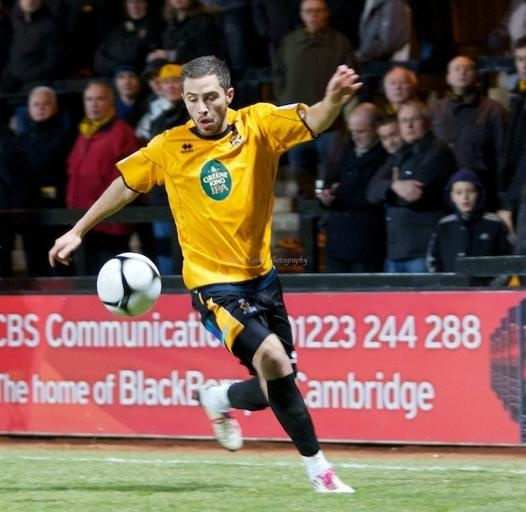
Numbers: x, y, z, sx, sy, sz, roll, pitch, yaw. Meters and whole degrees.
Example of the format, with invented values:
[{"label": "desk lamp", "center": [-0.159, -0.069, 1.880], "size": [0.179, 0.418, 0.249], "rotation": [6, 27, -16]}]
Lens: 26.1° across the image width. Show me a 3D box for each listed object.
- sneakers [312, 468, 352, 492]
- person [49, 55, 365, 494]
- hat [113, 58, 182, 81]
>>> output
[{"label": "sneakers", "center": [0.302, 1.088, 5.521], "size": [0.088, 0.089, 0.233], "rotation": [-8, 0, -44]}, {"label": "person", "center": [-0.123, 0.100, 5.598], "size": [1.282, 2.145, 0.587], "rotation": [2, 16, 39]}, {"label": "hat", "center": [-0.759, -1.203, 7.294], "size": [0.398, 0.105, 0.224], "rotation": [-1, -7, -4]}]
